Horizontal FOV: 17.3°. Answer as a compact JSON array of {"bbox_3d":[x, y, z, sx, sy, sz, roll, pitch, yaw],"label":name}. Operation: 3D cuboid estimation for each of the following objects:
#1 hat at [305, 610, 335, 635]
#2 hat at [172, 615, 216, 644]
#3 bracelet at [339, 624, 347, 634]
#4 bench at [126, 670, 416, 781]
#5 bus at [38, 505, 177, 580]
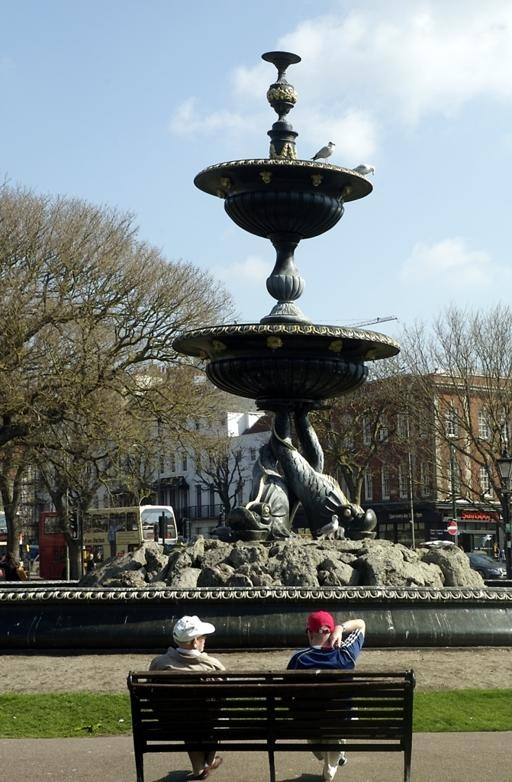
[{"bbox_3d":[0.449,1.553,11.229,0.181,0.140,0.210,-1,-5,-3],"label":"hat"},{"bbox_3d":[-0.373,1.632,11.252,0.272,0.143,0.191,-10,13,-39],"label":"hat"},{"bbox_3d":[0.596,1.603,11.284,0.040,0.032,0.040,0,-1,-32],"label":"bracelet"},{"bbox_3d":[0.118,2.184,10.902,1.804,0.763,0.405,-1,-5,3],"label":"bench"},{"bbox_3d":[-5.303,5.159,54.884,4.492,2.345,1.370,1,-4,-37],"label":"bus"}]
